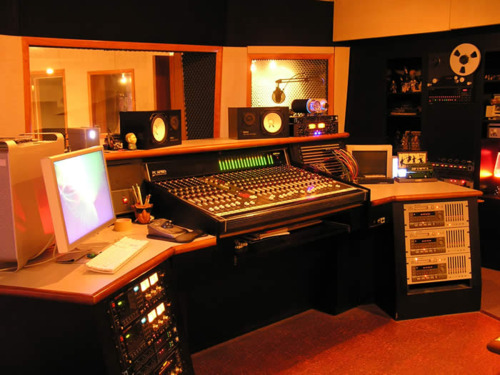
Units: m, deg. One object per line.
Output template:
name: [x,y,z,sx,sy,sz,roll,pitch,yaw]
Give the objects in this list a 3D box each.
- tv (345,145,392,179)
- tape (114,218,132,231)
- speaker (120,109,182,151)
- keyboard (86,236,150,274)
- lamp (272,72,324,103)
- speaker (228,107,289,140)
tv: [1.113,-0.257,3.551,0.393,0.343,0.220,2,30,25]
tape: [-0.787,0.225,2.381,0.078,0.048,0.080,1,6,10]
speaker: [-0.709,-0.423,2.801,0.454,0.267,0.182,-7,13,-20]
keyboard: [-0.670,0.334,1.950,0.112,0.030,0.207,11,21,14]
lamp: [0.555,-1.105,4.342,0.569,0.344,0.168,0,-3,6]
speaker: [0.074,-0.583,3.415,0.263,0.287,0.541,0,8,38]
